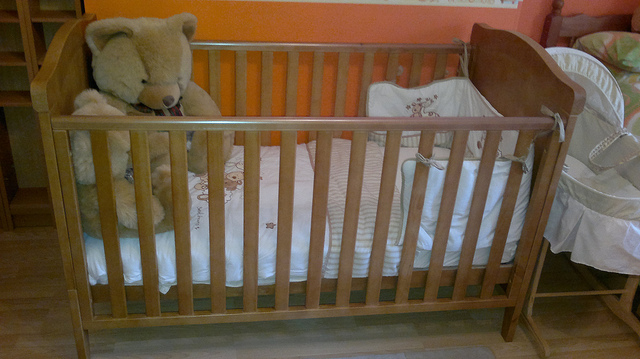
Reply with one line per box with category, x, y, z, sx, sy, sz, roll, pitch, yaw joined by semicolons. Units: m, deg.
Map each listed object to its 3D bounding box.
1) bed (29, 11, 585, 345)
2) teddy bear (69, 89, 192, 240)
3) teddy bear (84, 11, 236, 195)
bed;-0.107;-0.031;2.809;2.614;1.657;1.138;-1;29;-4
teddy bear;-0.853;-0.079;2.527;0.524;0.754;0.523;1;-1;8
teddy bear;-0.852;-0.406;2.727;0.799;0.855;0.723;1;42;-18
